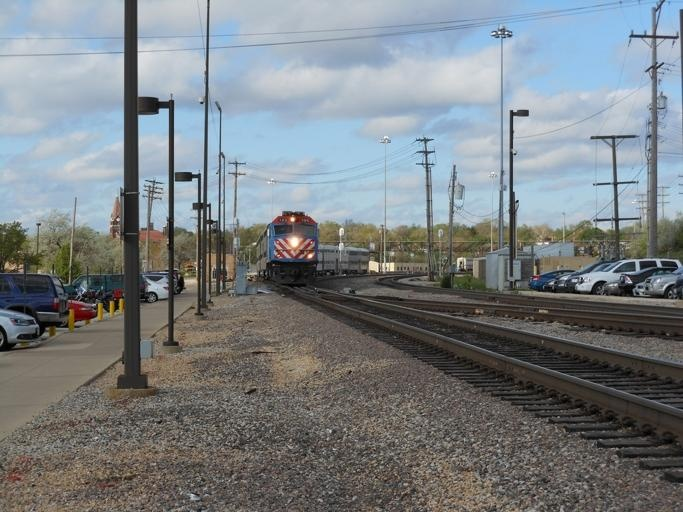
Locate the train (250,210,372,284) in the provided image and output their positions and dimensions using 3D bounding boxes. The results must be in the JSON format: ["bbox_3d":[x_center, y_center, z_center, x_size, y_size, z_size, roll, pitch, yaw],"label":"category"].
[{"bbox_3d":[-2.717,-1.737,48.739,3.825,5.361,17.413,0,-1,-11],"label":"train"}]
